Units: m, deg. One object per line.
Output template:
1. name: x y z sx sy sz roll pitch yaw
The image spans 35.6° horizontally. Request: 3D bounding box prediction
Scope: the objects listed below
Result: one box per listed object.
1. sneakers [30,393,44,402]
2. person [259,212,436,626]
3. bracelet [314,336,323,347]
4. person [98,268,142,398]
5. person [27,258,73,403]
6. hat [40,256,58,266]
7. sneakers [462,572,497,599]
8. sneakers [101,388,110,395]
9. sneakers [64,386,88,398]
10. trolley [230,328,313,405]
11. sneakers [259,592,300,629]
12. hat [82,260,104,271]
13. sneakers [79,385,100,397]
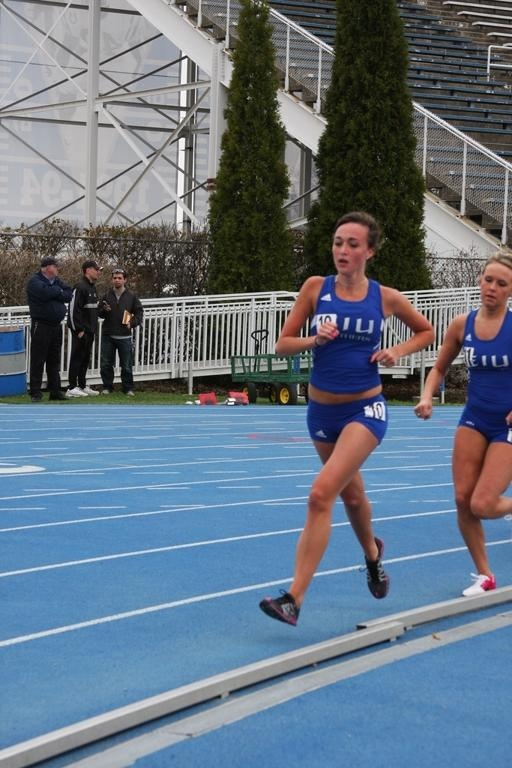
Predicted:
1. sneakers: -3.936 0.246 14.285 0.162 0.114 0.244 3 -4 -16
2. person: 0.363 0.109 3.601 0.570 1.771 0.970 6 6 27
3. bracelet: 0.274 -0.179 3.456 0.033 0.037 0.042 1 23 7
4. person: -2.701 -0.951 15.489 0.813 2.410 0.909 5 5 17
5. person: -3.700 -0.937 14.208 0.735 2.554 0.849 4 5 9
6. hat: -3.585 -2.098 13.794 0.267 0.124 0.166 -13 16 -17
7. sneakers: 1.168 1.033 4.157 0.306 0.117 0.104 1 -6 -44
8. sneakers: -2.991 0.151 15.812 0.143 0.139 0.210 8 -6 -13
9. sneakers: -3.407 0.165 15.163 0.438 0.181 0.162 1 12 -2
10. trolley: 0.079 -0.398 17.694 1.491 1.338 1.071 -16 2 34
11. sneakers: 0.095 0.915 3.290 0.137 0.127 0.085 7 6 37
12. hat: -3.038 -2.135 14.588 0.262 0.184 0.436 1 5 -15
13. sneakers: -3.194 0.139 15.411 0.405 0.170 0.133 10 18 -31
